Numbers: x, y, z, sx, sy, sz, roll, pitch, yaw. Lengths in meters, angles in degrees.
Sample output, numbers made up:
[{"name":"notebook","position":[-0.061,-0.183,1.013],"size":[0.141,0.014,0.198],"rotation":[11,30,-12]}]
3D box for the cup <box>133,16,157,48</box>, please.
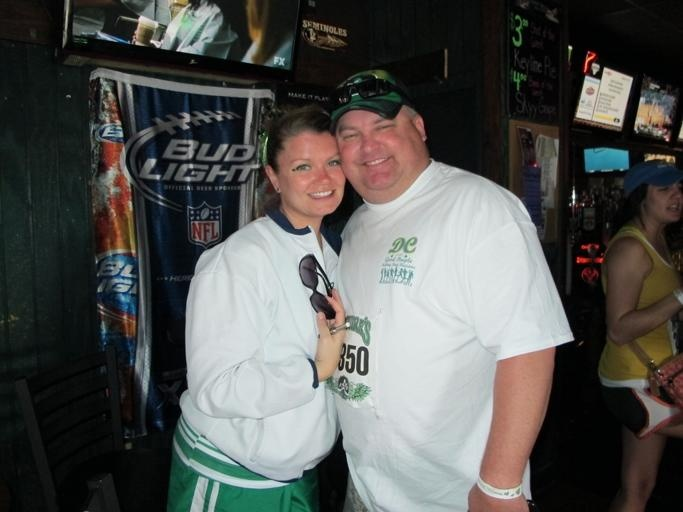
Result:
[{"name":"cup","position":[-1.113,-1.267,3.045],"size":[0.152,0.172,0.099],"rotation":[11,12,-25]}]
